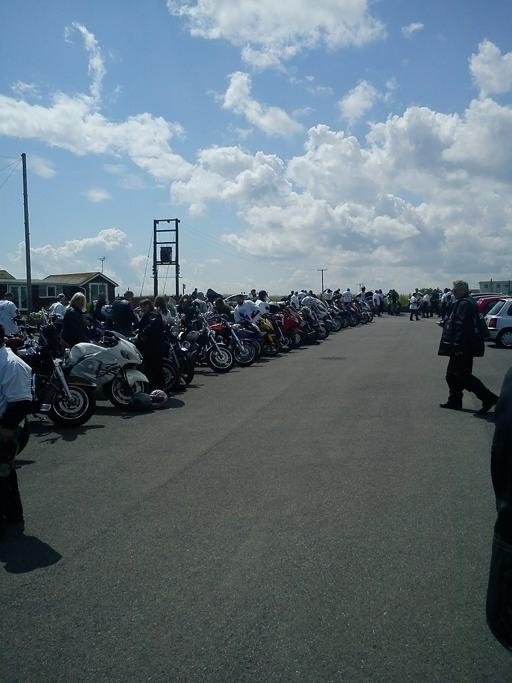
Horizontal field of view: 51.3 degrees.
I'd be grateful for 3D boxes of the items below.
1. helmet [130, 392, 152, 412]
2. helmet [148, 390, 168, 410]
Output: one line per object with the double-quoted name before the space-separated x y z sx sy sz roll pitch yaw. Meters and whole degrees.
"helmet" -1.906 1.056 9.310 0.296 0.315 0.340 -20 -35 6
"helmet" -1.684 1.078 9.666 0.312 0.299 0.248 -22 20 -13
